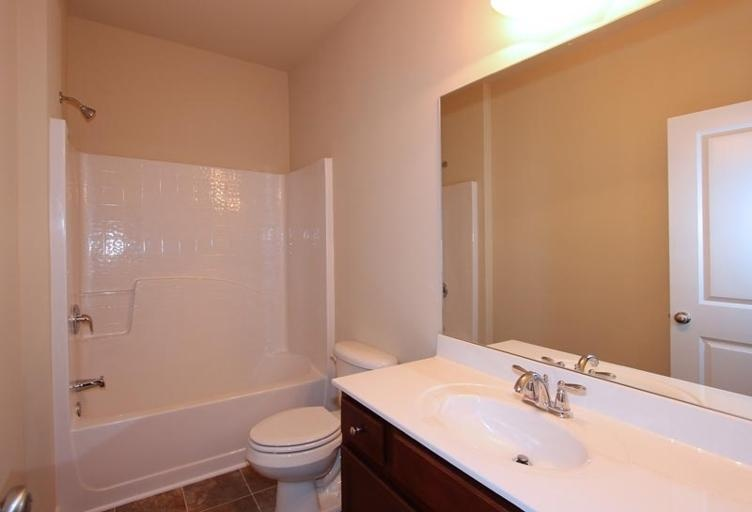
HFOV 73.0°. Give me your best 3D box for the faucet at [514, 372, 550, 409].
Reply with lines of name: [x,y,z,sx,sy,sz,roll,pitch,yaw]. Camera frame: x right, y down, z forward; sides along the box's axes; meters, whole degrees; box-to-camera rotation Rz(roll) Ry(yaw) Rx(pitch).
faucet: [0.627,0.524,2.041,0.158,0.154,0.102,4,5,38]

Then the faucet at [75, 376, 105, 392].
faucet: [-1.599,0.706,2.811,0.128,0.046,0.105,0,3,-40]

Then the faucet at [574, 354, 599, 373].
faucet: [0.845,0.431,2.035,0.053,0.062,0.083,4,-29,-44]
